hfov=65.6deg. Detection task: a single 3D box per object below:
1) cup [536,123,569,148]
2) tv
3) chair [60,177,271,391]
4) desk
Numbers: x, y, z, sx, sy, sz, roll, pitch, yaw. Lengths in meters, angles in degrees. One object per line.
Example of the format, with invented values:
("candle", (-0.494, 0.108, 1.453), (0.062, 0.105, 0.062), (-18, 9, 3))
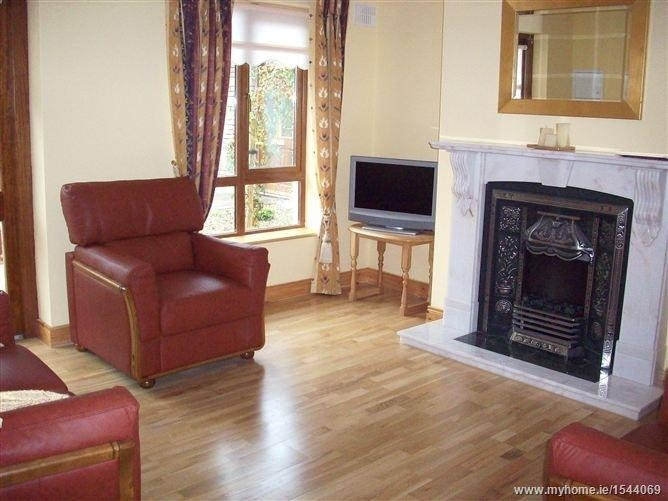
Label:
("cup", (1.610, -0.851, 3.854), (0.206, 0.184, 0.186), (14, 18, 43))
("tv", (0.589, -0.538, 5.160), (0.788, 0.553, 0.212), (6, 11, 26))
("chair", (-1.323, 0.182, 4.039), (1.165, 1.276, 1.232), (-11, 22, -43))
("desk", (0.594, 0.168, 5.390), (0.660, 0.814, 0.896), (-9, 17, -38))
